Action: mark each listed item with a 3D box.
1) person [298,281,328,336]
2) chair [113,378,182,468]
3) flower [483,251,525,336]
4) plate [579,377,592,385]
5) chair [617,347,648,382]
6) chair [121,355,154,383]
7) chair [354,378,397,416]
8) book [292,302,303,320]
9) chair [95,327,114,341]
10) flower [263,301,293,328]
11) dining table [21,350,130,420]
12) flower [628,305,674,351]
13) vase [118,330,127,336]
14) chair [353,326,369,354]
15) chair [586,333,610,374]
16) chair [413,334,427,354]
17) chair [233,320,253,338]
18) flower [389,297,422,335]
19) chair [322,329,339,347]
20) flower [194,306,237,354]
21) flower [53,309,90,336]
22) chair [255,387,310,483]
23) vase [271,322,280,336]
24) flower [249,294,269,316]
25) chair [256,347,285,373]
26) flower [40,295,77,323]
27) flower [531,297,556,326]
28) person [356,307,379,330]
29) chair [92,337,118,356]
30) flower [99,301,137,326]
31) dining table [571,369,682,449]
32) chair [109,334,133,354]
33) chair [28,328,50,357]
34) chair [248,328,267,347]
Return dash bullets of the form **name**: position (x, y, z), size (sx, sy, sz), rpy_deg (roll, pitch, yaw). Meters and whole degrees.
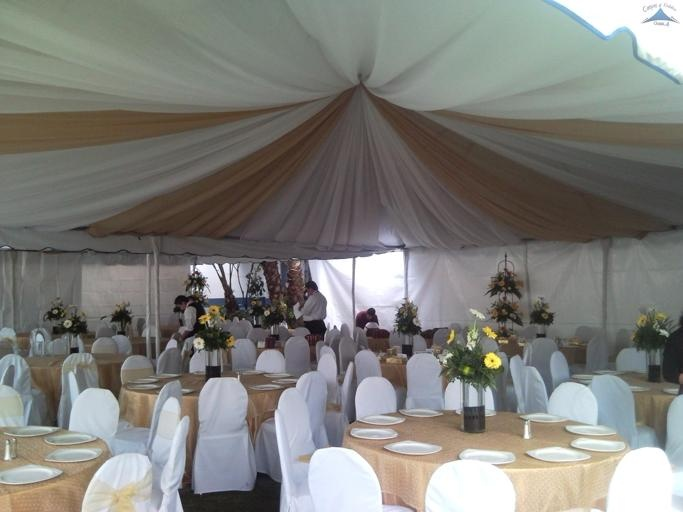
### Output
- **person**: position (-0.578, 1.102, 11.215), size (0.542, 1.125, 1.000), rpy_deg (-1, -5, -5)
- **chair**: position (-1.770, 1.551, 5.029), size (0.495, 0.784, 0.526), rpy_deg (20, -4, -9)
- **flower**: position (2.851, 0.686, 9.606), size (0.536, 1.355, 0.555), rpy_deg (-8, 14, -33)
- **plate**: position (2.760, 1.413, 6.181), size (0.115, 0.030, 0.122), rpy_deg (-2, 1, 26)
- **chair**: position (3.653, 1.367, 6.949), size (0.343, 0.496, 0.385), rpy_deg (3, -3, 4)
- **chair**: position (-2.554, 1.386, 6.881), size (0.340, 0.537, 0.368), rpy_deg (3, -8, -26)
- **chair**: position (0.320, 1.373, 5.444), size (0.326, 0.526, 0.366), rpy_deg (1, -7, -10)
- **book**: position (-0.908, 1.196, 11.693), size (0.104, 0.323, 0.233), rpy_deg (-4, 1, 4)
- **chair**: position (-4.769, 1.554, 11.089), size (0.432, 0.296, 0.441), rpy_deg (0, -1, -22)
- **flower**: position (-1.145, 1.075, 10.040), size (0.407, 0.384, 0.430), rpy_deg (0, -9, -6)
- **dining table**: position (-3.574, 1.699, 7.656), size (0.933, 0.768, 1.041), rpy_deg (-2, -9, 4)
- **flower**: position (3.399, 0.816, 6.004), size (0.425, 0.456, 0.348), rpy_deg (4, -7, -44)
- **vase**: position (-4.281, 1.518, 10.786), size (0.159, 0.168, 0.170), rpy_deg (-1, -7, -1)
- **chair**: position (0.347, 1.491, 9.673), size (0.262, 0.440, 0.418), rpy_deg (3, -7, -26)
- **chair**: position (3.660, 1.411, 7.910), size (0.507, 0.475, 0.219), rpy_deg (3, -6, -41)
- **chair**: position (1.259, 1.414, 8.763), size (0.245, 0.241, 0.257), rpy_deg (5, 12, -5)
- **chair**: position (-2.074, 1.529, 11.309), size (0.354, 0.507, 0.387), rpy_deg (4, -10, -23)
- **flower**: position (1.042, 0.950, 8.598), size (0.495, 0.748, 0.536), rpy_deg (4, -7, -17)
- **chair**: position (-0.180, 1.488, 10.101), size (0.212, 0.310, 0.276), rpy_deg (6, -12, 7)
- **flower**: position (-1.466, 0.830, 6.250), size (0.433, 0.513, 0.364), rpy_deg (1, -6, -24)
- **flower**: position (-4.915, 1.210, 9.933), size (0.624, 0.341, 0.676), rpy_deg (3, -3, -6)
- **chair**: position (-0.465, 1.562, 5.210), size (0.424, 0.775, 0.455), rpy_deg (0, -30, -9)
- **vase**: position (-1.217, 1.356, 10.092), size (0.178, 0.247, 0.165), rpy_deg (-10, 18, -37)
- **flower**: position (-1.935, 1.139, 12.908), size (0.458, 0.573, 0.444), rpy_deg (1, 3, -1)
- **chair**: position (-0.947, 1.423, 7.488), size (0.272, 0.432, 0.339), rpy_deg (1, -3, 3)
- **flower**: position (-5.784, 1.079, 11.182), size (0.450, 0.432, 0.483), rpy_deg (0, -11, 1)
- **flower**: position (3.338, 0.914, 9.193), size (0.422, 0.486, 0.451), rpy_deg (1, 4, -11)
- **person**: position (0.588, 1.433, 12.733), size (0.501, 0.481, 1.135), rpy_deg (-2, -7, 2)
- **chair**: position (-3.831, 1.475, 8.930), size (0.312, 0.498, 0.347), rpy_deg (3, -8, -19)
- **flower**: position (-5.074, 1.309, 12.388), size (0.574, 0.540, 0.597), rpy_deg (-3, -3, 35)
- **dining table**: position (3.033, 1.443, 5.680), size (0.745, 0.809, 0.771), rpy_deg (-2, 4, 9)
- **chair**: position (-3.750, 1.498, 9.324), size (0.285, 0.445, 0.318), rpy_deg (1, -6, -27)
- **chair**: position (-5.192, 1.512, 9.463), size (0.314, 0.768, 0.231), rpy_deg (7, -11, -43)
- **chair**: position (-1.565, 1.517, 10.222), size (0.274, 0.430, 0.330), rpy_deg (2, 1, -21)
